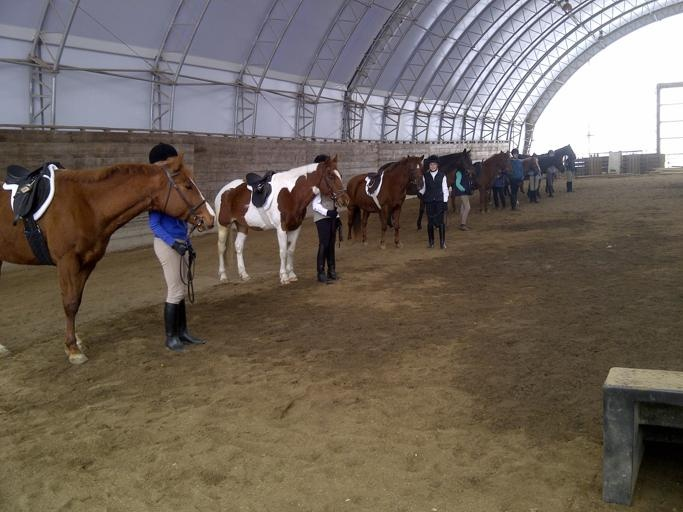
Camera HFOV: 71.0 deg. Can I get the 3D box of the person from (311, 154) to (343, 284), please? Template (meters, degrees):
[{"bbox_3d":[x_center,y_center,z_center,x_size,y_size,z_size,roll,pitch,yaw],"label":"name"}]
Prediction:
[{"bbox_3d":[-0.270,-0.368,8.601,0.482,1.646,0.767,-3,13,-3],"label":"person"}]

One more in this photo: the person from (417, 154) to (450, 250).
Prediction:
[{"bbox_3d":[2.157,-1.258,11.243,0.572,2.191,1.231,0,13,11],"label":"person"}]

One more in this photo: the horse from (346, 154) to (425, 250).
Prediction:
[{"bbox_3d":[0.948,-1.321,11.917,0.766,2.164,2.707,-8,9,-39],"label":"horse"}]

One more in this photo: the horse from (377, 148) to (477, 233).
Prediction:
[{"bbox_3d":[2.365,-1.940,14.112,2.999,2.601,0.863,-1,9,-17],"label":"horse"}]

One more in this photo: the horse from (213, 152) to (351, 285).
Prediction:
[{"bbox_3d":[-1.232,-0.551,8.720,2.577,2.375,0.771,2,10,19],"label":"horse"}]

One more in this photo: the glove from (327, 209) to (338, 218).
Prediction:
[{"bbox_3d":[-0.173,-0.744,8.429,0.126,0.158,0.137,0,-2,-8],"label":"glove"}]
